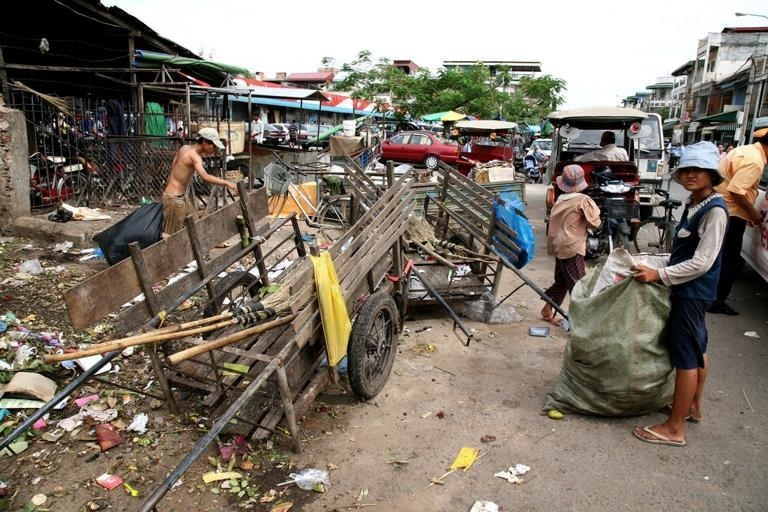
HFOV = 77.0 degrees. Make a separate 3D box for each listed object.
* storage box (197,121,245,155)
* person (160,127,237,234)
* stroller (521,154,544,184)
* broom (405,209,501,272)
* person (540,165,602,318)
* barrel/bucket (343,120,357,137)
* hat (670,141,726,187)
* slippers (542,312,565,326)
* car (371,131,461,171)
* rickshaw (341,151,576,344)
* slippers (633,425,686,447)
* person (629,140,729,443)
[{"bbox_3d":[-4.302,-3.018,12.752,0.891,0.887,1.353,-19,17,-9],"label":"storage box"},{"bbox_3d":[-2.776,-1.143,7.557,1.270,2.141,0.860,1,2,13],"label":"person"},{"bbox_3d":[6.648,-4.003,21.915,0.891,1.355,0.393,2,-7,-17],"label":"stroller"},{"bbox_3d":[1.023,-0.190,7.536,0.788,0.398,1.371,0,26,-39],"label":"broom"},{"bbox_3d":[2.610,-0.096,6.565,0.735,2.114,0.866,-6,12,-25],"label":"person"},{"bbox_3d":[-1.430,-5.342,20.153,0.440,0.557,0.533,-9,20,-21],"label":"barrel/bucket"},{"bbox_3d":[2.773,-0.803,4.206,0.348,0.378,0.297,10,22,31],"label":"hat"},{"bbox_3d":[2.317,0.820,6.576,0.129,0.144,0.370,-30,28,-30],"label":"slippers"},{"bbox_3d":[1.423,-4.614,20.452,4.684,1.431,1.995,12,23,30],"label":"car"},{"bbox_3d":[1.456,-0.292,7.627,3.437,1.679,2.018,44,12,31],"label":"rickshaw"},{"bbox_3d":[2.477,1.581,4.320,0.329,0.071,0.181,3,2,21],"label":"slippers"},{"bbox_3d":[2.610,0.334,4.256,0.579,2.581,0.958,9,22,28],"label":"person"}]
